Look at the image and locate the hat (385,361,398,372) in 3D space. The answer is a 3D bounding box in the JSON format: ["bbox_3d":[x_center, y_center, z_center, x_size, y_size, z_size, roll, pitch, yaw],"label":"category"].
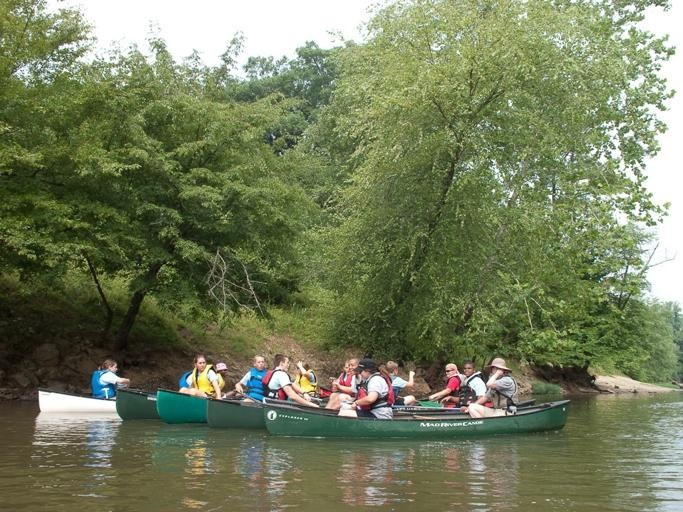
[{"bbox_3d":[1.355,2.883,18.615,0.313,0.299,0.464,3,-21,18],"label":"hat"}]

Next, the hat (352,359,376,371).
[{"bbox_3d":[0.601,2.696,17.383,0.396,0.205,0.266,0,-5,22],"label":"hat"}]

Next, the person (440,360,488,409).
[{"bbox_3d":[3.215,3.544,18.691,1.104,1.399,1.088,0,-1,18],"label":"person"}]

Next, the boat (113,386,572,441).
[{"bbox_3d":[0.456,4.182,18.106,10.839,1.027,2.074,1,2,3],"label":"boat"}]

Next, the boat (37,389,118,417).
[{"bbox_3d":[-7.601,4.295,20.390,2.628,0.642,0.861,2,-13,-4],"label":"boat"}]
